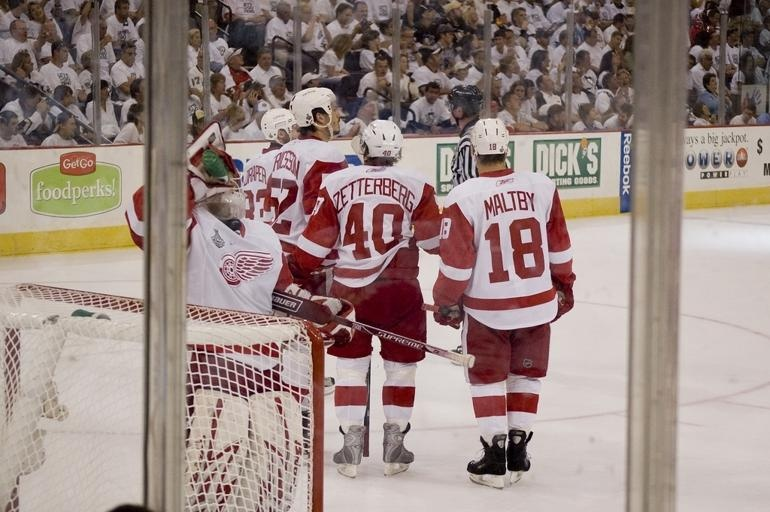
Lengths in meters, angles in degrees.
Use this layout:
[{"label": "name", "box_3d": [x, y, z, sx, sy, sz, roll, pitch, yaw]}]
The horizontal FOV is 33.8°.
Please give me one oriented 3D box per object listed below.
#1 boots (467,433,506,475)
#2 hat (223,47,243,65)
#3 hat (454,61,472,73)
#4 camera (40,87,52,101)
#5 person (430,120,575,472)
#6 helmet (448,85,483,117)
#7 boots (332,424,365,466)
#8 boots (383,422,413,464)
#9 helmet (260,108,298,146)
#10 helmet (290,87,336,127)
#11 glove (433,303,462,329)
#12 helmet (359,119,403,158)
[{"label": "boots", "box_3d": [0.634, 1.254, 7.931, 0.129, 0.301, 0.316, 7, -7, -35]}, {"label": "hat", "box_3d": [-1.630, -2.146, 13.658, 0.167, 0.166, 0.221, -1, 7, 15]}, {"label": "hat", "box_3d": [0.905, -2.214, 15.006, 0.138, 0.069, 0.106, -20, 5, 39]}, {"label": "camera", "box_3d": [-3.505, -1.670, 13.068, 0.154, 0.138, 0.102, 2, 9, 38]}, {"label": "person", "box_3d": [0.742, 0.433, 7.931, 0.880, 1.935, 0.441, -2, 7, 5]}, {"label": "helmet", "box_3d": [0.526, -1.097, 8.968, 0.226, 0.212, 0.190, 30, 34, 36]}, {"label": "boots", "box_3d": [-0.239, 1.213, 8.088, 0.121, 0.267, 0.346, 10, -12, -27]}, {"label": "boots", "box_3d": [0.080, 1.201, 8.079, 0.134, 0.280, 0.307, 1, -6, 33]}, {"label": "helmet", "box_3d": [-0.758, -0.930, 9.167, 0.299, 0.265, 0.238, -7, 37, -14]}, {"label": "helmet", "box_3d": [-0.522, -1.026, 8.684, 0.299, 0.255, 0.235, -11, 15, -7]}, {"label": "glove", "box_3d": [0.395, 0.369, 8.024, 0.207, 0.111, 0.285, 4, -8, 3]}, {"label": "helmet", "box_3d": [-0.029, -0.731, 7.993, 0.208, 0.243, 0.260, 2, 10, -7]}]
